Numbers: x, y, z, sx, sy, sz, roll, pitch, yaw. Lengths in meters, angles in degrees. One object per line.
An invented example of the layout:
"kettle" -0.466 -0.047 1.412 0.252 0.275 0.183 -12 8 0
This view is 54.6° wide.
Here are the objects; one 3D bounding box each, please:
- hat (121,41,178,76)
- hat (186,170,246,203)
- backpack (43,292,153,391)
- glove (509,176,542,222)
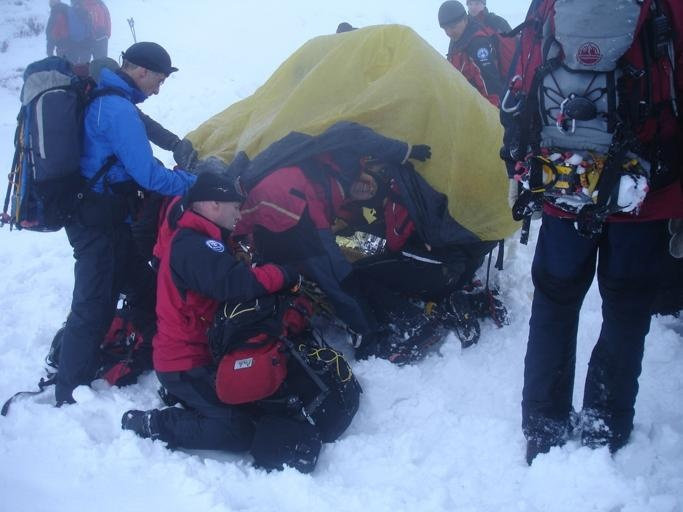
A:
"hat" -1.350 -1.362 4.660 0.315 0.176 0.229 10 19 -41
"hat" -0.825 -0.433 4.275 0.260 0.169 0.213 6 5 23
"backpack" -1.846 0.694 4.700 0.620 0.271 0.654 29 -28 -34
"glove" 0.943 -0.308 3.404 0.162 0.306 0.256 0 -4 5
